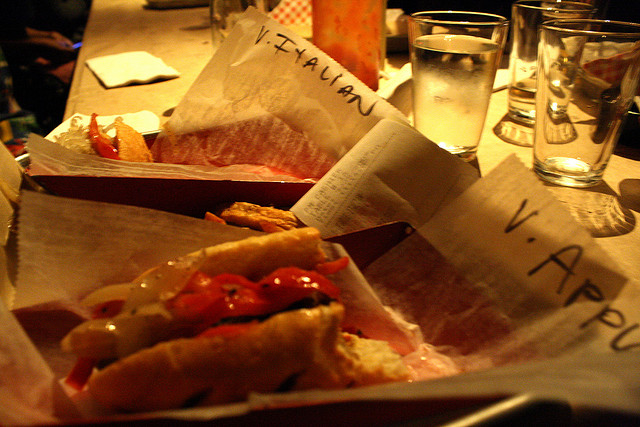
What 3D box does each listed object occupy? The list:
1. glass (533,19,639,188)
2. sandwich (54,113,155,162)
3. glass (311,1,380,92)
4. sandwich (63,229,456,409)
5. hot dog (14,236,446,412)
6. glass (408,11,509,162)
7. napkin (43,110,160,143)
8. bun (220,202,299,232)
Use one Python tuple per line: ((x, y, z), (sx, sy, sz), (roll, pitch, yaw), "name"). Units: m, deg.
((0.346, -0.148, 0.678), (0.146, 0.210, 0.086), (17, 39, 18), "glass")
((-0.299, -0.101, 0.673), (0.101, 0.034, 0.099), (14, 3, -44), "sandwich")
((0.042, -0.284, 0.822), (0.125, 0.140, 0.063), (7, 37, 5), "glass")
((-0.051, 0.092, 0.449), (0.302, 0.084, 0.145), (-3, 37, 14), "sandwich")
((-0.051, 0.063, 0.427), (0.238, 0.067, 0.232), (21, 19, 36), "hot dog")
((0.185, -0.189, 0.735), (0.141, 0.191, 0.122), (10, 36, 9), "glass")
((-0.337, -0.160, 0.857), (0.131, 0.020, 0.128), (-25, 36, -32), "napkin")
((-0.067, 0.002, 0.548), (0.071, 0.014, 0.035), (11, 23, -4), "bun")
